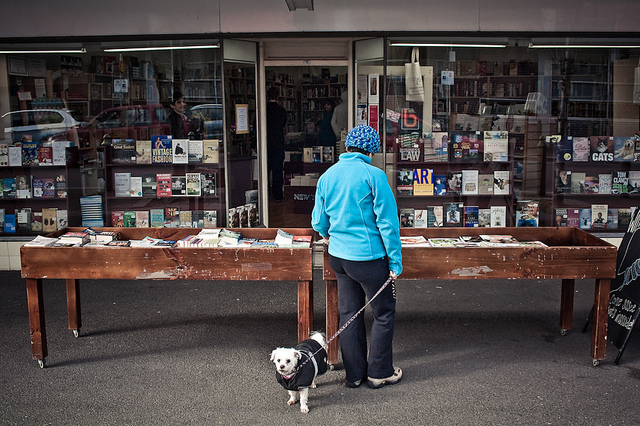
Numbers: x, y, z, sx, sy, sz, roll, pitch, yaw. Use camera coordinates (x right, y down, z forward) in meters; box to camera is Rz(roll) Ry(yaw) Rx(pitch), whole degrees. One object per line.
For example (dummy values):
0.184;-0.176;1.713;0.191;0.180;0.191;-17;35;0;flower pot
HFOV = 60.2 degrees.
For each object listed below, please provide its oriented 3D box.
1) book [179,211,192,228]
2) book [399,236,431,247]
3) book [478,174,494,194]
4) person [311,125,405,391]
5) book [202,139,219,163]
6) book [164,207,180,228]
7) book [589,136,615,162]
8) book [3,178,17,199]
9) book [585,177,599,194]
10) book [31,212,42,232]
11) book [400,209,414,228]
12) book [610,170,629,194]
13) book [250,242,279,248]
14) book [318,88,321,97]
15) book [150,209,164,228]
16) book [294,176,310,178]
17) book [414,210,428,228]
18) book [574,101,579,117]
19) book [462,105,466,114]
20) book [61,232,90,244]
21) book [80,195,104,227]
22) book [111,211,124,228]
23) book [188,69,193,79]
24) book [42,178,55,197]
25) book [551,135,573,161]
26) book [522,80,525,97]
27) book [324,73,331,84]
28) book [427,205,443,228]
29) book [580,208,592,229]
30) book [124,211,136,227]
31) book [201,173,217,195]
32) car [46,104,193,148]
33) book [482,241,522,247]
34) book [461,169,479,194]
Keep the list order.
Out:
-2.079;0.095;8.599;0.234;0.317;0.032;2;19;1;book
0.990;0.303;5.835;0.286;0.031;0.449;-1;10;3;book
2.505;-0.423;8.332;0.253;0.266;0.062;-2;4;4;book
0.361;0.438;5.346;0.820;2.515;0.540;-3;9;-5;person
-1.665;-0.961;8.436;0.260;0.362;0.192;4;20;-3;book
-2.303;0.062;8.613;0.254;0.304;0.054;0;10;12;book
4.302;-0.983;8.354;0.195;0.380;0.390;-10;12;-31;book
-4.778;-0.395;8.540;0.282;0.384;0.049;0;5;-4;book
4.109;-0.408;8.340;0.234;0.222;0.055;0;2;0;book
-4.402;0.145;8.609;0.176;0.306;0.043;-2;9;1;book
1.315;0.075;8.390;0.263;0.351;0.038;-2;13;-6;book
4.525;-0.463;8.358;0.313;0.318;0.076;2;3;2;book
-0.579;0.343;5.826;0.280;0.016;0.297;-1;10;4;book
-0.011;-2.116;9.692;0.045;0.151;0.062;-3;10;-7;book
-2.528;0.081;8.620;0.215;0.263;0.115;3;11;28;book
-0.319;-0.639;9.880;0.257;0.029;0.036;-2;9;-1;book
1.538;0.084;8.434;0.241;0.290;0.041;-2;5;5;book
3.809;-1.549;8.238;0.066;0.232;0.016;-2;9;0;book
2.150;-1.557;8.256;0.067;0.133;0.030;-1;4;6;book
-2.633;0.278;5.986;0.267;0.083;0.282;-2;10;3;book
-3.527;-0.044;8.557;0.433;0.581;0.315;-2;4;-3;book
-3.141;0.090;8.582;0.208;0.217;0.066;-3;9;-6;book
-1.924;-2.081;8.263;0.056;0.138;0.004;-2;9;1;book
-4.185;-0.392;8.549;0.183;0.284;0.033;-1;9;6;book
3.627;-0.991;8.305;0.376;0.514;0.049;0;11;5;book
3.016;-1.853;8.229;0.032;0.240;0.043;2;10;21;book
0.116;-2.288;9.363;0.108;0.205;0.110;1;3;27;book
1.728;0.051;8.359;0.314;0.427;0.047;0;12;3;book
4.050;0.088;8.443;0.177;0.307;0.053;-2;9;3;book
-2.950;0.096;8.609;0.183;0.233;0.030;-3;9;-5;book
-1.717;-0.455;8.516;0.305;0.406;0.043;3;15;1;book
-3.146;-1.322;8.680;1.629;0.746;0.864;0;10;-7;car
1.881;0.322;5.754;0.303;0.037;0.237;-1;5;24;book
2.254;-0.485;8.340;0.358;0.498;0.045;-1;6;3;book
